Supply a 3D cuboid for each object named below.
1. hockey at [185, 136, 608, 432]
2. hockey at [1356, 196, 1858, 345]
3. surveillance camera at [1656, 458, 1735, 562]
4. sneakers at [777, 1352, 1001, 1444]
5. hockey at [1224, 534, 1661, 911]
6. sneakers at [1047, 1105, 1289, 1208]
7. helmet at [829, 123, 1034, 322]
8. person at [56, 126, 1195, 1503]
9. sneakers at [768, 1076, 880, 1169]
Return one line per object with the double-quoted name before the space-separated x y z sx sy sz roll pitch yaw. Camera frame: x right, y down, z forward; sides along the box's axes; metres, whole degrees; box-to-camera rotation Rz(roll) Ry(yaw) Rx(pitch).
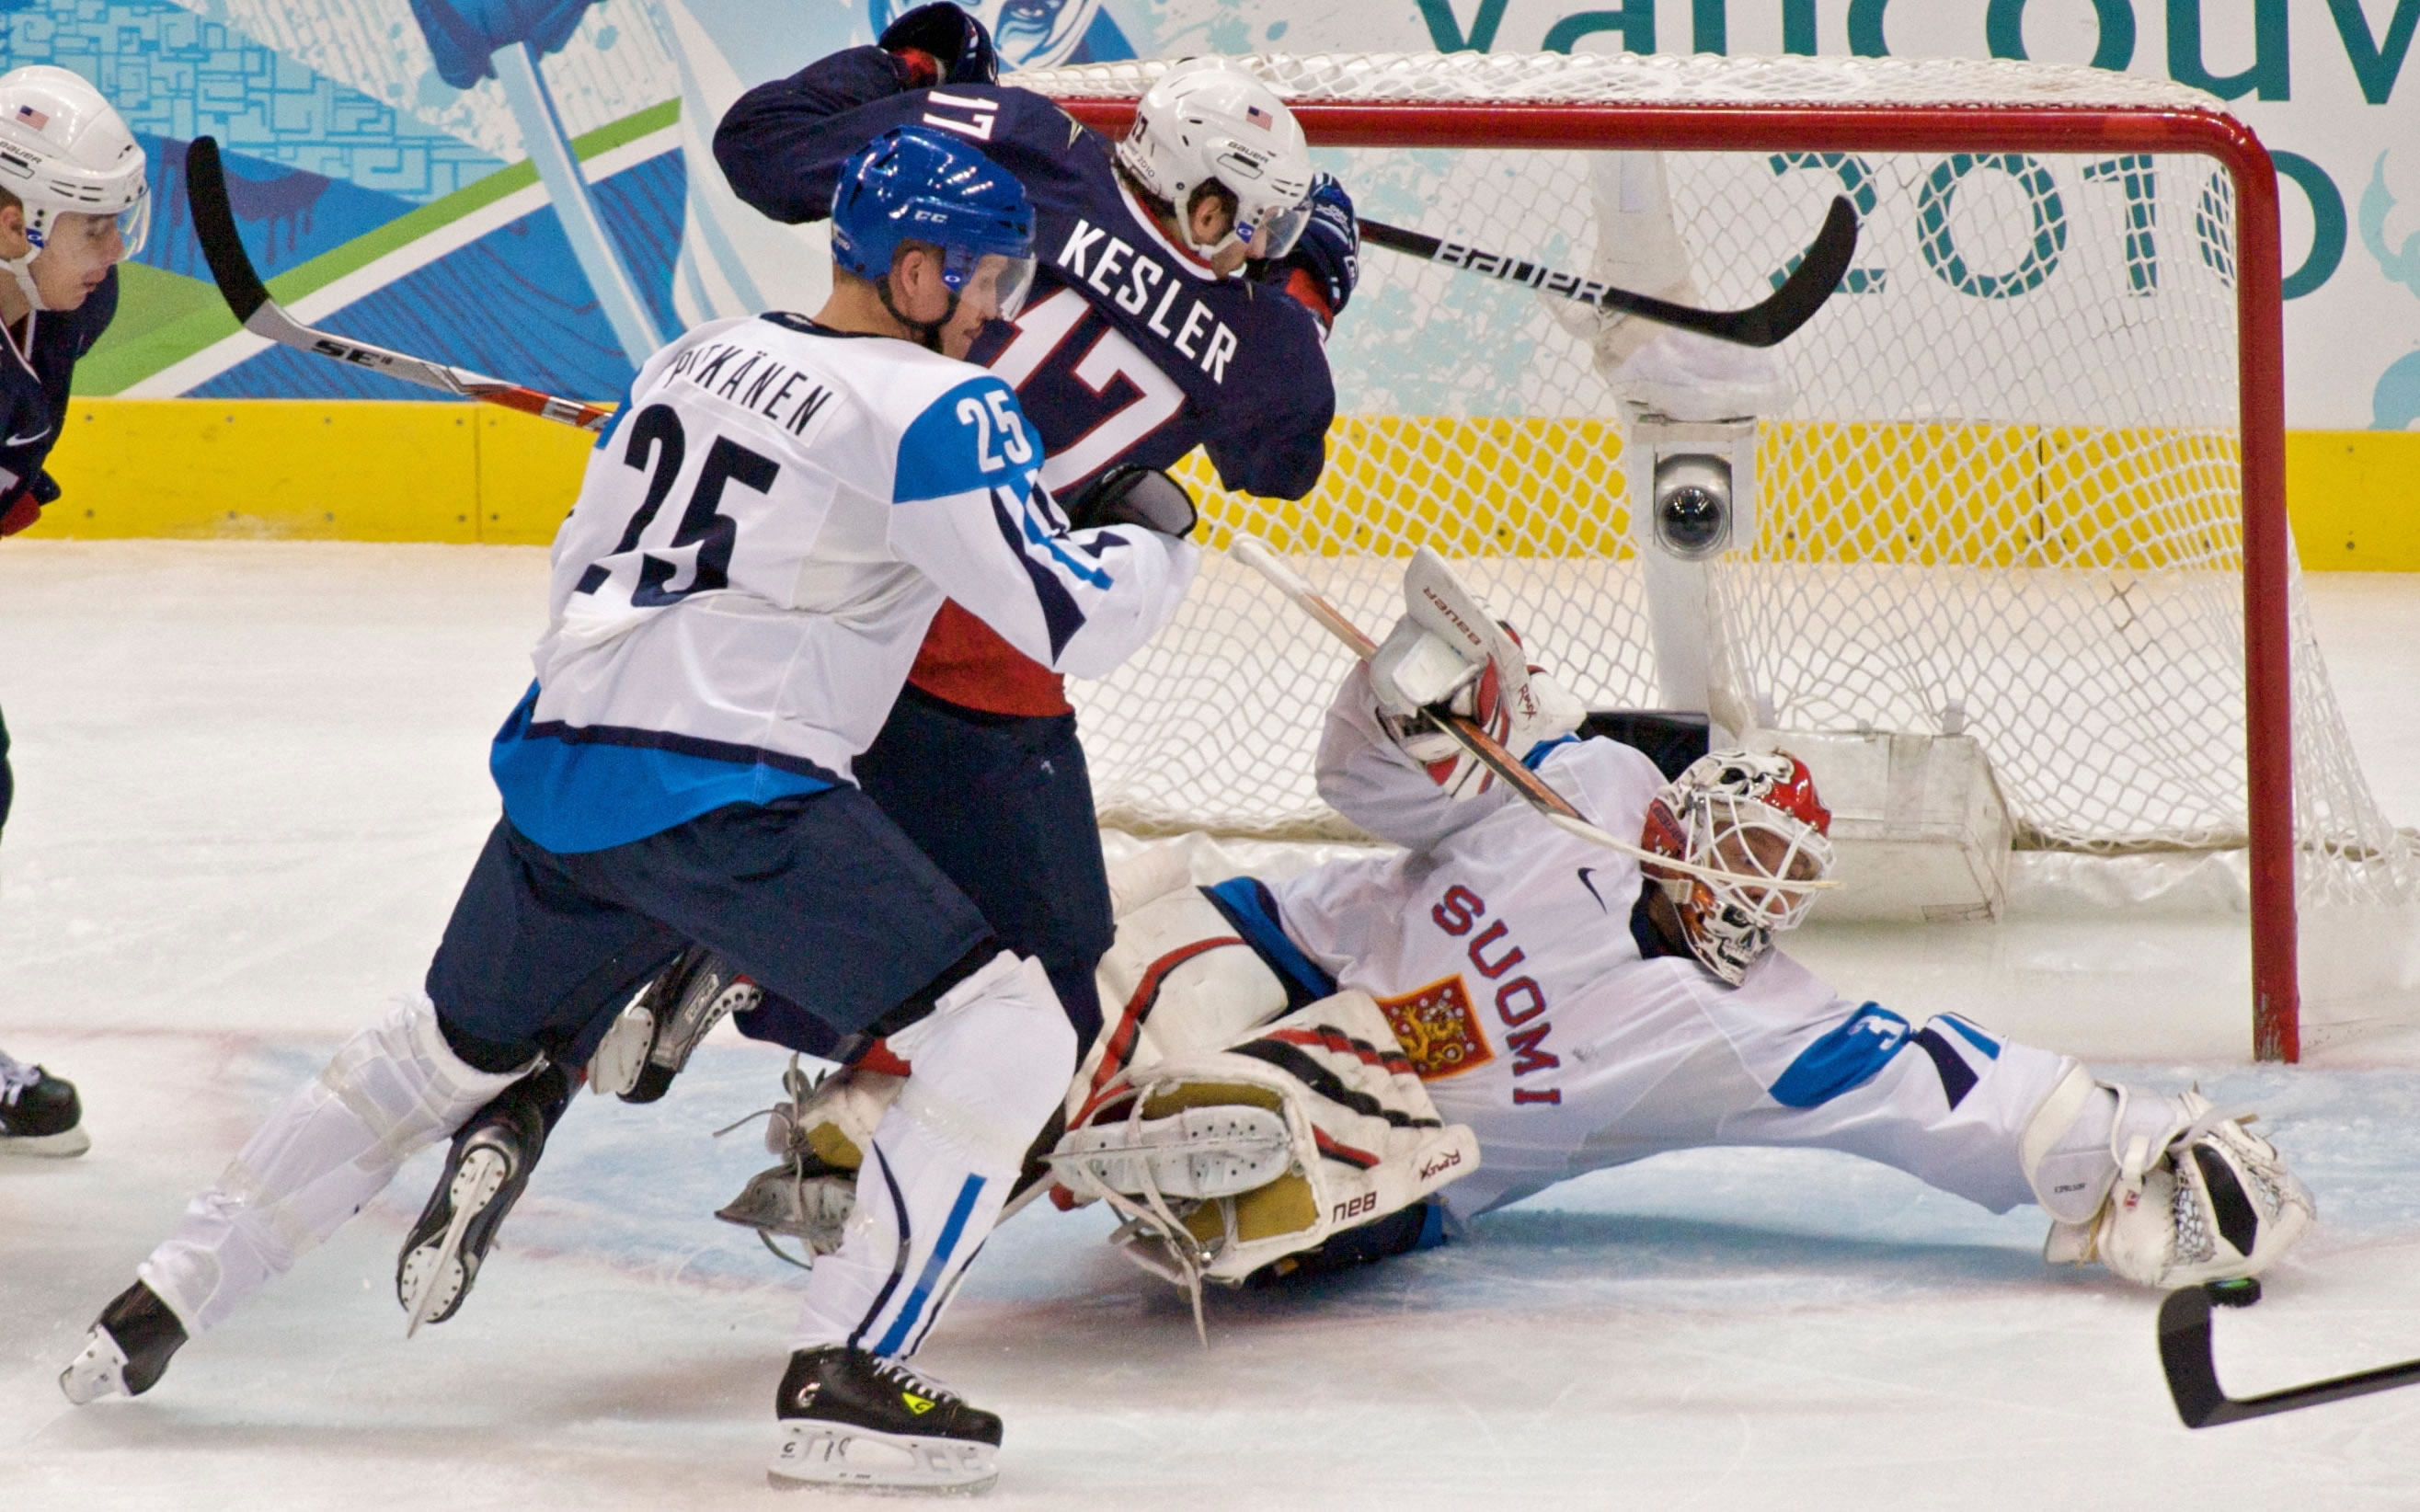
"hockey" -1.704 -0.968 5.381 0.040 0.357 1.189 9 0 29
"hockey" 0.747 -1.168 5.483 1.224 0.293 0.020 16 13 16
"surveillance camera" 1.042 -0.533 5.465 0.212 0.197 0.237 6 5 8
"sneakers" -0.450 0.880 3.443 0.355 0.129 0.108 2 -3 -4
"hockey" 0.458 -0.062 5.053 1.395 0.074 0.266 34 -13 18
"sneakers" -0.050 0.576 3.810 0.358 0.124 0.113 -8 32 -5
"helmet" -0.398 -0.761 3.580 0.302 0.255 0.209 2 26 -24
"person" -0.725 0.173 3.616 1.260 1.593 0.389 5 7 17
"sneakers" -0.580 0.566 3.847 0.176 0.126 0.066 -9 -28 5
